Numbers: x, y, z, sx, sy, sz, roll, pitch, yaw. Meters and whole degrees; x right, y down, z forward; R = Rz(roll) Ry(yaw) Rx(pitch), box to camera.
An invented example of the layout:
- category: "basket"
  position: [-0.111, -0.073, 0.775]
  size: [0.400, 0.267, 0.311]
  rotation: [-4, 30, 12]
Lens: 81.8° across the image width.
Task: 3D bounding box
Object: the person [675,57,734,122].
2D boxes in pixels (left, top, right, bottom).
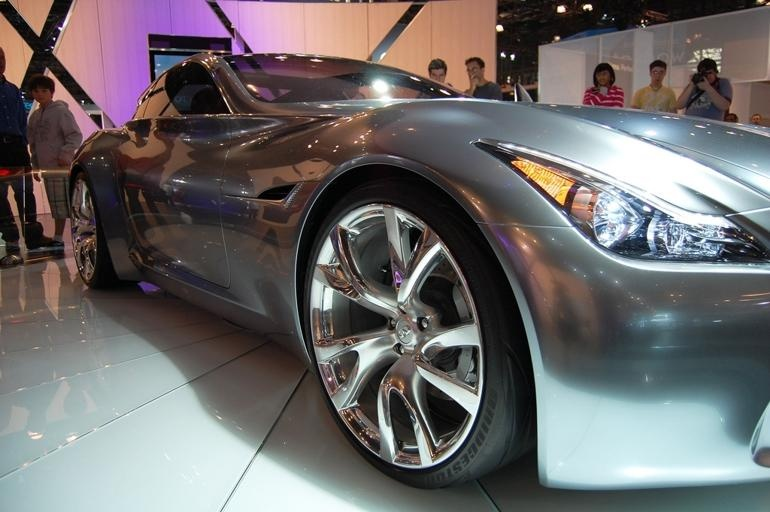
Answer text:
- category: "person"
  position: [3.419, -1.732, 4.749]
  size: [0.460, 0.714, 0.424]
  rotation: [11, 36, 35]

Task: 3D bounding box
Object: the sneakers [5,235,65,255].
- category: "sneakers"
  position: [-3.789, -0.137, 4.865]
  size: [0.575, 0.221, 0.205]
  rotation: [-3, 7, -32]
